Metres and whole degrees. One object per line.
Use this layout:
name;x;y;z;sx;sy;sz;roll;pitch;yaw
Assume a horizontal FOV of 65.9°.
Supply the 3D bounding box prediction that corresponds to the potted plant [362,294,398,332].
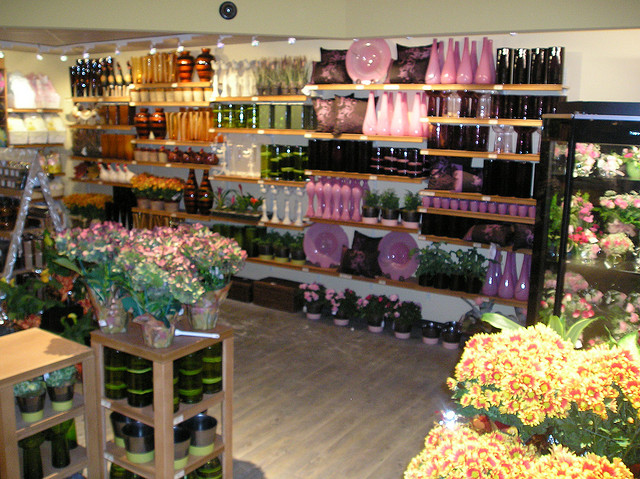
potted plant;0.573;0.703;5.146;0.386;0.389;0.394;-1;9;-19

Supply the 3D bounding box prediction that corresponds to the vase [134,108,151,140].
vase;-2.385;-1.529;6.517;0.187;0.393;0.248;-5;15;-24

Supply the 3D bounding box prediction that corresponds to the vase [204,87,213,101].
vase;-1.397;-1.779;6.054;0.063;0.156;0.140;-11;19;-41

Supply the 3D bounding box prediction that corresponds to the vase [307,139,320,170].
vase;-0.084;-0.924;5.381;0.140;0.325;0.053;10;17;31

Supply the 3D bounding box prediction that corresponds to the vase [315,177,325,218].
vase;-0.032;-0.464;5.457;0.094;0.435;0.160;-2;14;-11

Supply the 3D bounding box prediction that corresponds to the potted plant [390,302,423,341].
potted plant;0.923;0.809;5.064;0.373;0.346;0.365;-1;3;-39

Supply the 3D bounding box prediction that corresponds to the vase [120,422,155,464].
vase;-0.891;0.996;2.437;0.204;0.173;0.150;-18;54;4

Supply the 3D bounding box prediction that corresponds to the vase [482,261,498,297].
vase;1.632;0.379;4.696;0.133;0.307;0.094;7;15;21

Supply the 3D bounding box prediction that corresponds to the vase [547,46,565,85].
vase;2.010;-1.487;4.214;0.139;0.321;0.188;7;15;23

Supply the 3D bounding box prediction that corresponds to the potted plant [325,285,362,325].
potted plant;0.261;0.743;5.418;0.343;0.414;0.414;5;-2;4

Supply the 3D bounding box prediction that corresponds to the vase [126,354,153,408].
vase;-0.877;0.671;2.360;0.121;0.255;0.068;-2;14;-10

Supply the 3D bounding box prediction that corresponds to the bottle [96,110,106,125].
bottle;-3.196;-1.746;7.063;0.129;0.195;0.486;-5;15;-24

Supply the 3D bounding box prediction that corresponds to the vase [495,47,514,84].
vase;1.631;-1.525;4.359;0.155;0.298;0.071;7;15;22

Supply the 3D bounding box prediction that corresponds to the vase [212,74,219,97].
vase;-1.284;-1.836;5.904;0.078;0.264;0.118;-1;14;-8

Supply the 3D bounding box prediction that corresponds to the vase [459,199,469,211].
vase;1.368;-0.329;4.701;0.093;0.096;0.089;-1;8;3

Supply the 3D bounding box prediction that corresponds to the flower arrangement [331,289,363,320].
flower arrangement;0.252;0.676;5.303;0.329;0.294;0.295;0;3;-7

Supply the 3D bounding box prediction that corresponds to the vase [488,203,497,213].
vase;1.598;-0.293;4.567;0.074;0.086;0.035;5;15;15

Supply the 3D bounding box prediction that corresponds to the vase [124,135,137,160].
vase;-2.630;-1.252;6.724;0.189;0.328;0.109;-1;14;-9

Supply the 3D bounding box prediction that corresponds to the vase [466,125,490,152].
vase;1.448;-0.928;4.553;0.227;0.236;0.225;1;2;30

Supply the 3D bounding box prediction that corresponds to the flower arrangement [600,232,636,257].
flower arrangement;1.741;0.025;2.882;0.136;0.124;0.142;8;10;34

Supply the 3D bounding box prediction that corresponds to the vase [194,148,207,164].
vase;-1.531;-1.042;6.178;0.184;0.111;0.153;-1;2;-5

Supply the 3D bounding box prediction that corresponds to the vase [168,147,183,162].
vase;-1.893;-1.093;6.387;0.185;0.228;0.164;1;43;1

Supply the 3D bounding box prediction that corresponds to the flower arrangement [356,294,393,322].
flower arrangement;0.555;0.685;5.105;0.305;0.194;0.290;-2;3;5

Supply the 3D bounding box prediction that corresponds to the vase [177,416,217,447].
vase;-0.608;0.945;2.469;0.155;0.096;0.164;0;-2;-23

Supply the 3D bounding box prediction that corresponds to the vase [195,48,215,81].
vase;-1.455;-2.134;6.138;0.281;0.400;0.295;0;4;10

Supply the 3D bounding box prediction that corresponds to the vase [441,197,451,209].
vase;1.213;-0.352;4.788;0.103;0.106;0.099;-4;10;-19

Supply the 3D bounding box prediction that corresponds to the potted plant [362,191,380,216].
potted plant;0.525;-0.369;5.204;0.293;0.285;0.229;0;1;-9

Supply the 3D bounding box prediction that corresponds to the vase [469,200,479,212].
vase;1.452;-0.321;4.669;0.098;0.100;0.064;7;15;23

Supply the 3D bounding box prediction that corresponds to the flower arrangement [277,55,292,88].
flower arrangement;-0.406;-1.861;5.513;0.152;0.332;0.187;-4;15;-21

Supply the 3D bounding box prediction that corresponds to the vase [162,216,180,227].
vase;-1.922;-0.236;6.255;0.160;0.136;0.049;7;18;17

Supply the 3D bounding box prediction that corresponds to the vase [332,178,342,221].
vase;0.164;-0.447;5.384;0.096;0.436;0.088;2;14;2

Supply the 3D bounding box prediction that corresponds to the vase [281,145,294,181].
vase;-0.391;-0.864;5.596;0.142;0.375;0.092;0;14;-5

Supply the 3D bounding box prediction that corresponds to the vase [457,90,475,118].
vase;1.341;-1.257;4.583;0.154;0.239;0.144;5;15;14

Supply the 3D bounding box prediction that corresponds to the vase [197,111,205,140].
vase;-1.498;-1.400;6.090;0.113;0.331;0.046;10;17;32

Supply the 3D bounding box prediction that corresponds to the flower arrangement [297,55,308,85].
flower arrangement;-0.214;-1.855;5.445;0.112;0.294;0.138;0;14;-4

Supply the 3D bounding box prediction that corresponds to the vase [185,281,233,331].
vase;-0.625;0.344;2.528;0.328;0.215;0.281;-4;1;-1

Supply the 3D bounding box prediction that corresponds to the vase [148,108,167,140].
vase;-2.156;-1.508;6.458;0.198;0.386;0.241;-8;17;-32

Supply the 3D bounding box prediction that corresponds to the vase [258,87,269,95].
vase;-0.667;-1.682;5.592;0.158;0.078;0.102;5;6;16

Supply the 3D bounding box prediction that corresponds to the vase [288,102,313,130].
vase;-0.234;-1.349;5.414;0.247;0.279;0.098;2;14;2

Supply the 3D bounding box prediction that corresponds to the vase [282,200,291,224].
vase;-0.421;-0.333;5.833;0.097;0.255;0.317;0;14;-6

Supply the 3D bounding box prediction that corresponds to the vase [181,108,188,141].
vase;-1.731;-1.432;6.193;0.103;0.366;0.074;10;17;31

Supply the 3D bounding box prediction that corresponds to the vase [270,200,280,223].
vase;-0.561;-0.333;5.856;0.104;0.245;0.194;-1;14;-8

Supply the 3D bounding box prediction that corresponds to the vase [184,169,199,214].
vase;-1.675;-0.607;6.267;0.173;0.551;0.143;-3;15;-15

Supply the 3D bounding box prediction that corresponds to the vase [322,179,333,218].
vase;0.071;-0.448;5.411;0.108;0.412;0.067;6;15;18

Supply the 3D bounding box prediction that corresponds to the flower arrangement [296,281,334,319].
flower arrangement;-0.045;0.658;5.562;0.431;0.375;0.378;2;0;14

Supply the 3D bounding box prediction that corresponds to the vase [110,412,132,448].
vase;-1.014;0.961;2.506;0.134;0.133;0.134;-12;-5;-12

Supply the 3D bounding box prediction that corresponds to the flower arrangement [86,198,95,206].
flower arrangement;-3.298;-0.534;6.985;0.090;0.098;0.032;-4;15;-21

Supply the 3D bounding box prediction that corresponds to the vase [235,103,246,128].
vase;-0.959;-1.437;5.757;0.146;0.262;0.055;6;15;17

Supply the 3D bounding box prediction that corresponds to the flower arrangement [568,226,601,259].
flower arrangement;1.612;0.011;3.055;0.188;0.201;0.195;5;9;44

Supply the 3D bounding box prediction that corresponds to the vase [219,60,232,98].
vase;-1.169;-1.908;5.887;0.104;0.384;0.178;-11;19;-41

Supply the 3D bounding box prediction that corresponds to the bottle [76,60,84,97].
bottle;-3.507;-2.309;7.088;0.184;0.497;0.055;9;16;27

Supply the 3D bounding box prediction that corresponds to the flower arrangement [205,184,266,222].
flower arrangement;-1.046;-0.457;6.075;0.618;0.249;0.487;7;9;23
